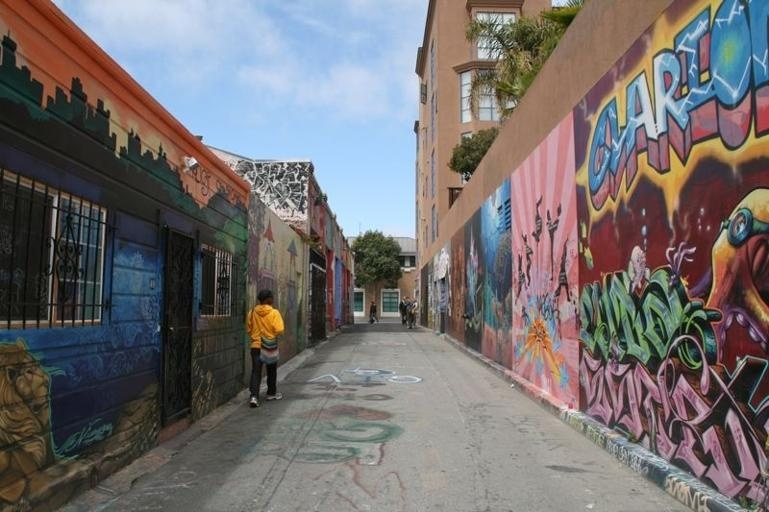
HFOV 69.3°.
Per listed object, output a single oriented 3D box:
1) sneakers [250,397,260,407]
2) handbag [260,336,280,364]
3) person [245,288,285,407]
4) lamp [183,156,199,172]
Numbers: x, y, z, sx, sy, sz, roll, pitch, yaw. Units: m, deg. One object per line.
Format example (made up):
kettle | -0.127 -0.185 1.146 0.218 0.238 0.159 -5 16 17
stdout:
sneakers | -2.294 2.575 9.855 0.143 0.177 0.211 0 -1 -14
handbag | -2.067 1.735 10.192 0.175 0.502 0.371 0 -1 38
person | -2.196 1.661 10.337 0.612 2.043 1.076 0 -1 -14
lamp | -2.925 -1.401 8.502 0.189 0.230 0.129 0 0 15
